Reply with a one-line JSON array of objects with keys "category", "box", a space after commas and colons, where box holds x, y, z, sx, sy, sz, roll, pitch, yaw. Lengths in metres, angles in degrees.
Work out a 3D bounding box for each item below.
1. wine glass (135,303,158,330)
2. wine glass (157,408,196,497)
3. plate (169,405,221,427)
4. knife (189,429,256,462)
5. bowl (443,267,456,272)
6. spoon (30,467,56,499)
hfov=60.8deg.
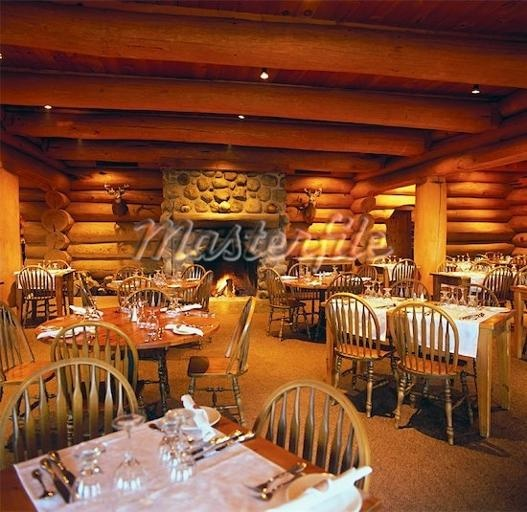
[{"category": "wine glass", "box": [-0.950, 0.490, 3.638, 0.205, 0.132, 0.067, 0, -1, -1]}, {"category": "wine glass", "box": [-0.295, 0.633, 1.523, 0.115, 0.209, 0.165, -2, 6, -14]}, {"category": "plate", "box": [-0.229, 0.660, 1.835, 0.201, 0.015, 0.179, 3, 1, 17]}, {"category": "knife", "box": [-0.156, 0.708, 1.691, 0.261, 0.011, 0.067, 0, 9, -41]}, {"category": "bowl", "box": [3.266, 0.234, 7.879, 0.171, 0.153, 0.136, 0, -7, 12]}, {"category": "spoon", "box": [-0.727, 0.739, 1.473, 0.045, 0.018, 0.148, 6, 0, -24]}]
